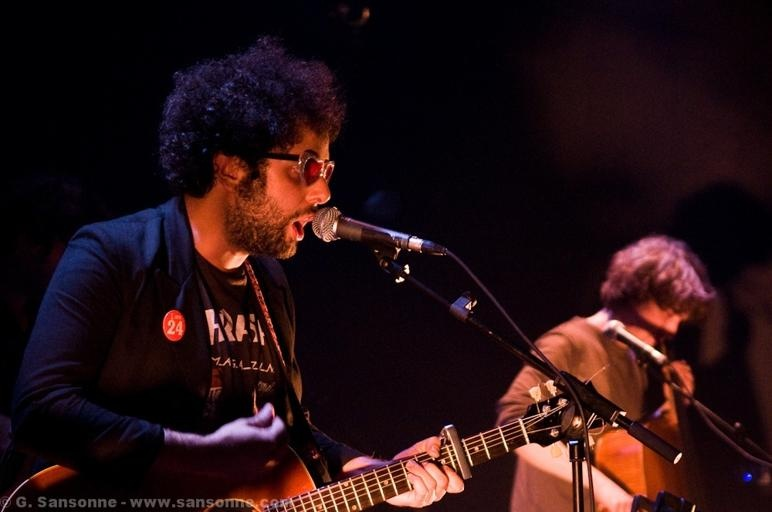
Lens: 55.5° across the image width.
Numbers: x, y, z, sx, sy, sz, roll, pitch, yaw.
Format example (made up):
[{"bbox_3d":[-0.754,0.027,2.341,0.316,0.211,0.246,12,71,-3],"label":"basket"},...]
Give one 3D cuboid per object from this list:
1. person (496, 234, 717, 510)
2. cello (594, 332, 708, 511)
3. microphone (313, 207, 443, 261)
[{"bbox_3d":[1.691,0.920,5.475,1.396,2.033,0.831,30,-20,-30],"label":"person"},{"bbox_3d":[1.974,1.195,5.614,0.793,1.528,0.412,2,-4,-33],"label":"cello"},{"bbox_3d":[-0.088,-0.161,5.387,0.860,0.223,0.242,17,-1,29],"label":"microphone"}]
